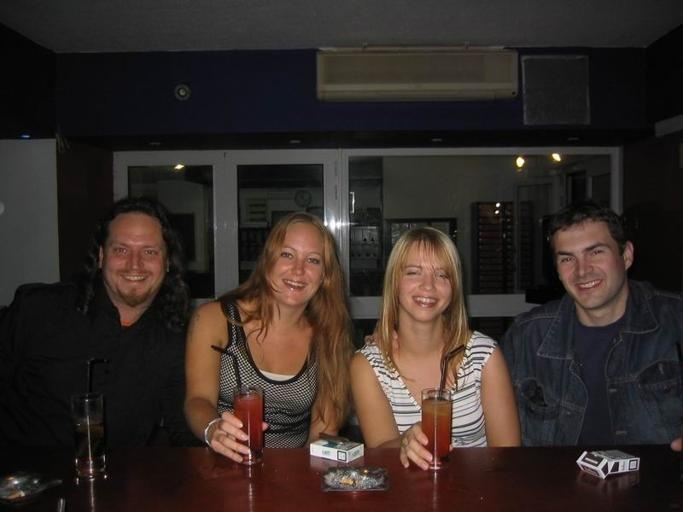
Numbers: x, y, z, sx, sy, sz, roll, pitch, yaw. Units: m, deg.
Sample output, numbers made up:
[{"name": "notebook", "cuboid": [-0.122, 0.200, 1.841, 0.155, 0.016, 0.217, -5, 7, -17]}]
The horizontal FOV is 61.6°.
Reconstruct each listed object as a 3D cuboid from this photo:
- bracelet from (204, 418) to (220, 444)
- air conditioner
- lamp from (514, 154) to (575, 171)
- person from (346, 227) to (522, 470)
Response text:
[{"name": "bracelet", "cuboid": [-0.594, 0.789, 2.615, 0.071, 0.136, 0.248, 1, -1, -14]}, {"name": "air conditioner", "cuboid": [0.589, -1.436, 4.502, 1.547, 0.380, 0.156, 1, 0, 5]}, {"name": "lamp", "cuboid": [1.889, -0.874, 5.349, 0.534, 0.172, 0.171, 0, 10, 3]}, {"name": "person", "cuboid": [0.466, 0.572, 2.959, 0.812, 1.437, 0.753, -1, -15, 12]}]
